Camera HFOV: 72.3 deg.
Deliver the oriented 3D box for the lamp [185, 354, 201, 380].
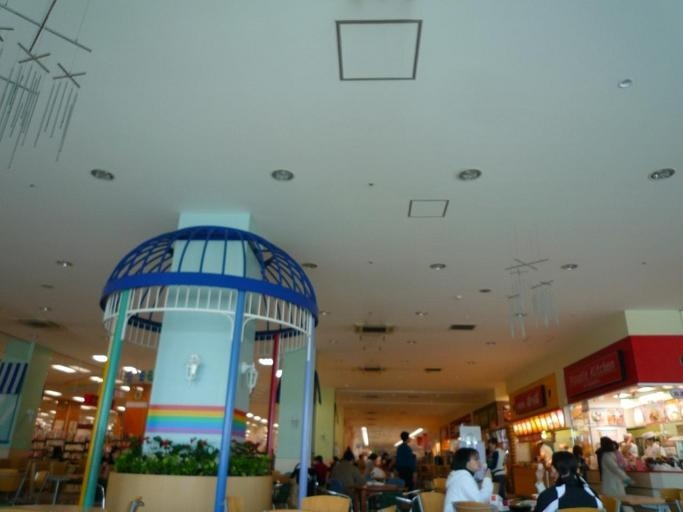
[{"bbox_3d":[-1.963,1.474,6.245,0.191,0.290,0.062,1,-9,23],"label":"lamp"}]
